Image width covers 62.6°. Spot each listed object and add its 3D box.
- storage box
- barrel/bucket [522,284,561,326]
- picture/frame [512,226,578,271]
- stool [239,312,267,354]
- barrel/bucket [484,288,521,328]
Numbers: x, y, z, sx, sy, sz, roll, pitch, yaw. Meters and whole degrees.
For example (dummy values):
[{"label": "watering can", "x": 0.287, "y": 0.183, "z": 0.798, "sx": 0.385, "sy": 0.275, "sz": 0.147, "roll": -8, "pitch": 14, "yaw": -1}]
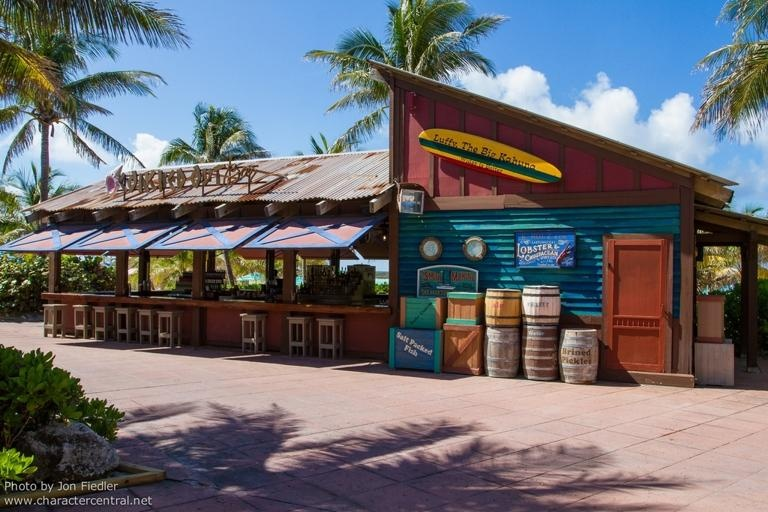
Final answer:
[{"label": "storage box", "x": 1.429, "y": 1.894, "z": 15.935, "sx": 3.136, "sy": 2.296, "sz": 1.752, "roll": -1, "pitch": -4, "yaw": 23}, {"label": "barrel/bucket", "x": 3.666, "y": 1.142, "z": 14.679, "sx": 1.025, "sy": 0.840, "sz": 0.985, "roll": 2, "pitch": -2, "yaw": 0}, {"label": "picture/frame", "x": 3.835, "y": -0.182, "z": 14.915, "sx": 1.384, "sy": 0.912, "sz": 0.239, "roll": 2, "pitch": 4, "yaw": 29}, {"label": "stool", "x": -3.748, "y": 2.148, "z": 17.994, "sx": 0.695, "sy": 1.078, "sz": 0.780, "roll": 0, "pitch": 4, "yaw": -8}, {"label": "barrel/bucket", "x": 2.830, "y": 1.207, "z": 14.882, "sx": 0.933, "sy": 0.797, "sz": 0.878, "roll": 1, "pitch": -1, "yaw": 0}]
